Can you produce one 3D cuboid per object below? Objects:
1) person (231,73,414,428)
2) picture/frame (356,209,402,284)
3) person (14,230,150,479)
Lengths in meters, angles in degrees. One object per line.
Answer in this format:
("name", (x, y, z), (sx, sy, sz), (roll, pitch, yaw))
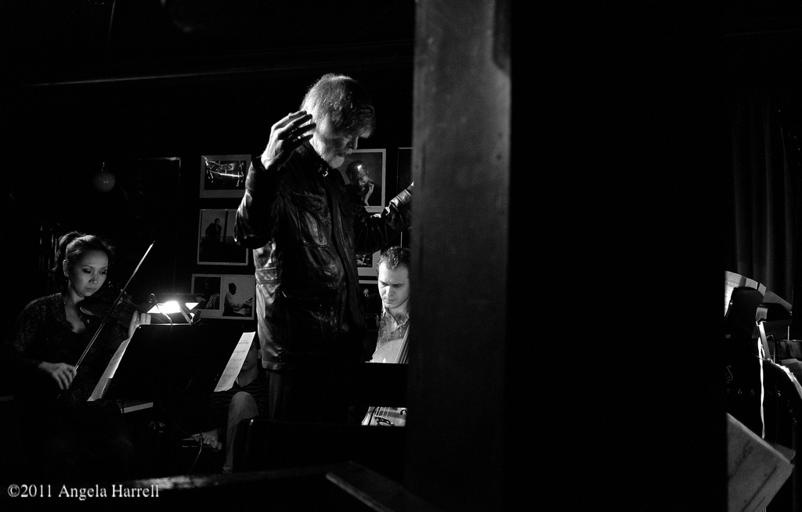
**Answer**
("person", (-0.410, -0.059, 3.261), (0.843, 1.697, 0.472), (2, 0, -16))
("picture/frame", (-0.195, -0.114, 4.987), (0.569, 0.645, 0.023), (9, -12, -30))
("person", (-2.417, 0.691, 4.819), (0.781, 1.663, 1.109), (2, 0, -38))
